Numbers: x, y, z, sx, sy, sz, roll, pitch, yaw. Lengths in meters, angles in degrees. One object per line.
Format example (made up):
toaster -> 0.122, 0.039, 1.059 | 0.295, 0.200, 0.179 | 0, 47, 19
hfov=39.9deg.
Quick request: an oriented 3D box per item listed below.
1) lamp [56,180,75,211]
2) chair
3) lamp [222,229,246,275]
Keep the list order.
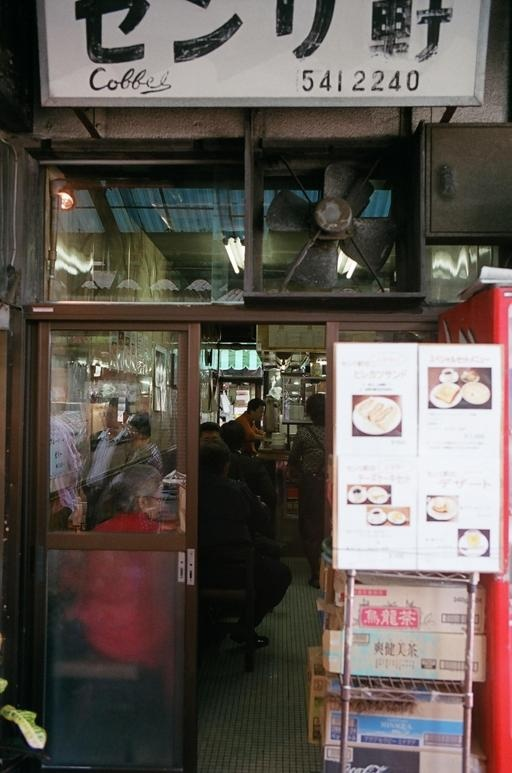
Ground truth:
lamp -> -0.900, -0.900, 3.338 | 0.090, 0.127, 0.035 | -13, 6, -21
chair -> -0.157, 1.256, 4.030 | 0.312, 0.715, 0.342 | 1, 2, -1
lamp -> -0.095, -0.610, 3.233 | 0.085, 0.205, 0.124 | 0, 3, -23
